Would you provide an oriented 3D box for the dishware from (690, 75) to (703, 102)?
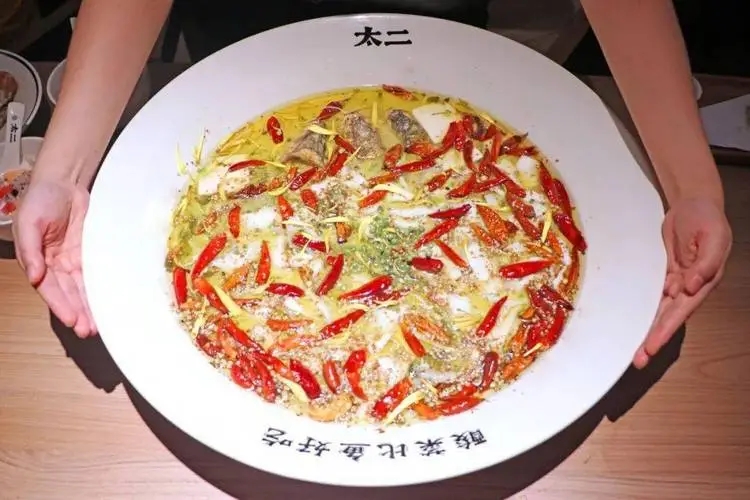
[{"bbox_3d":[1.067,-0.536,1.979,0.027,0.094,0.117,-1,-73,26],"label":"dishware"}]
